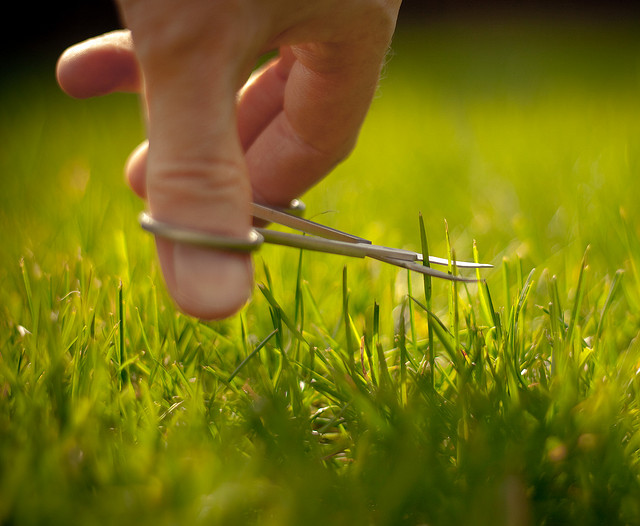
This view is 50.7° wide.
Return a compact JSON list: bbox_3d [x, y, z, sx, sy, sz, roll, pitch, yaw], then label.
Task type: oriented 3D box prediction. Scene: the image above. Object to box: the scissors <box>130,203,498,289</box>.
[{"bbox_3d":[-0.004,-0.024,0.652,0.414,0.043,0.145,8,8,39],"label":"scissors"}]
